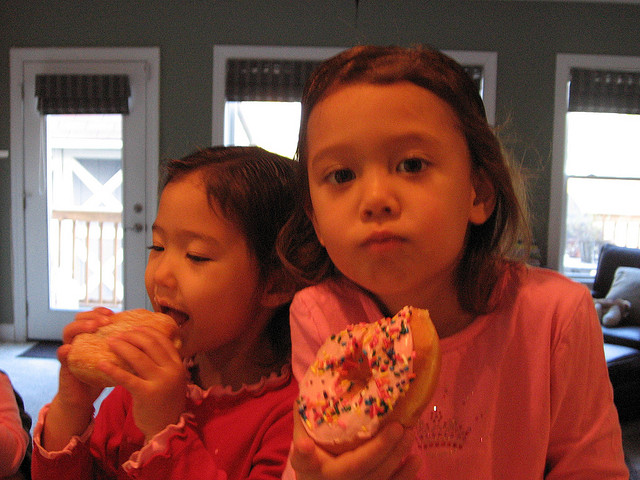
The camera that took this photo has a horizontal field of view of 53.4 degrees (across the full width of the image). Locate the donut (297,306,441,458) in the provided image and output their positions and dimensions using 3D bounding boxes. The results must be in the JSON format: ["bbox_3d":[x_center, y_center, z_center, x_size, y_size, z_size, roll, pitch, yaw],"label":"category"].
[{"bbox_3d":[0.195,0.466,2.050,0.415,0.485,0.165,16,-10,45],"label":"donut"}]

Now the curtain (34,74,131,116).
[{"bbox_3d":[-1.890,-1.155,5.092,0.718,0.374,0.059,-3,-17,-14],"label":"curtain"}]

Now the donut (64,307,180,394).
[{"bbox_3d":[-0.705,0.361,2.259,0.354,0.171,0.275,-39,43,-23],"label":"donut"}]
